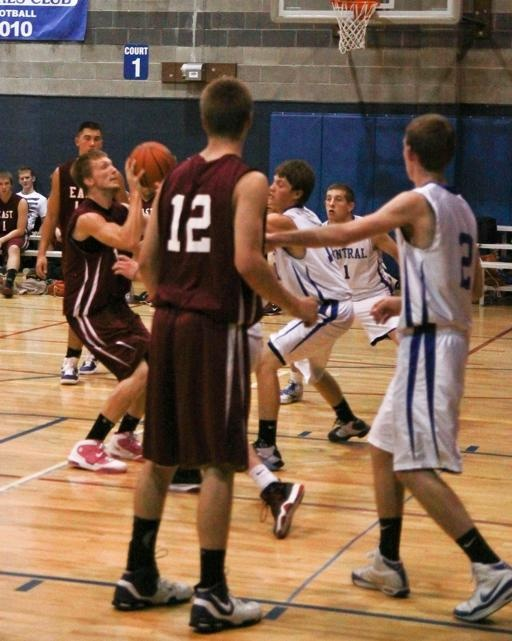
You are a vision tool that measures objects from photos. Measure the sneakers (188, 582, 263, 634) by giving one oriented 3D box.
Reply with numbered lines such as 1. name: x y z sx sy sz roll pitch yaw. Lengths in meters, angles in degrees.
1. sneakers: -0.092 0.773 2.075 0.245 0.125 0.091 0 1 -33

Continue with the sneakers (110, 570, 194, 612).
1. sneakers: -0.305 0.774 2.221 0.283 0.114 0.089 1 -2 -30

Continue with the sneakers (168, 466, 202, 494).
1. sneakers: -0.312 0.725 3.437 0.171 0.158 0.061 8 1 -5

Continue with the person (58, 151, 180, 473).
1. person: -0.721 -0.071 4.129 0.778 1.709 0.665 -1 4 17

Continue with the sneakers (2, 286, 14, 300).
1. sneakers: -3.385 -0.390 10.189 0.141 0.168 0.295 -1 8 -19

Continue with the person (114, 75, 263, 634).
1. person: -0.171 0.105 2.077 0.424 1.511 0.298 6 9 33

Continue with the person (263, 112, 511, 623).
1. person: 0.496 0.131 2.201 0.656 1.474 0.421 7 10 37

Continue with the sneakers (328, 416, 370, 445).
1. sneakers: 0.534 0.630 4.247 0.306 0.099 0.223 -17 -26 32

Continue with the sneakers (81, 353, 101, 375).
1. sneakers: -1.398 0.380 6.268 0.152 0.163 0.427 3 -2 -1

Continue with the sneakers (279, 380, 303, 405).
1. sneakers: 0.256 0.509 5.232 0.218 0.136 0.098 7 -6 -42

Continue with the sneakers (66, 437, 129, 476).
1. sneakers: -0.770 0.656 3.661 0.353 0.148 0.121 5 -2 3
